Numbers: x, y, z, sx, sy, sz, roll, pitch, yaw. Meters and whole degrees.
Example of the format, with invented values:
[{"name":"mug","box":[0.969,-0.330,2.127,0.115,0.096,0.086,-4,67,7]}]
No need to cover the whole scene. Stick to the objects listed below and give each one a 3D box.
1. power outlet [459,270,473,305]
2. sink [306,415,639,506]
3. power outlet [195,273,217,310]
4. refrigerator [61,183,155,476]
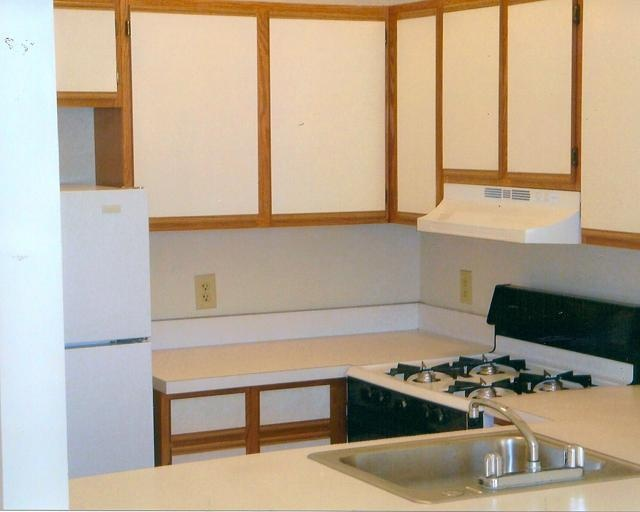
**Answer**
[{"name":"power outlet","box":[0.756,0.162,3.411,0.099,0.167,0.010,8,-10,-38]},{"name":"sink","box":[0.404,0.585,1.887,0.463,0.377,0.149,-2,-86,-27]},{"name":"power outlet","box":[-0.577,0.176,3.302,0.110,0.170,0.014,-5,-6,7]},{"name":"refrigerator","box":[-0.832,0.289,2.574,0.408,0.384,1.123,-10,-68,-40]}]
